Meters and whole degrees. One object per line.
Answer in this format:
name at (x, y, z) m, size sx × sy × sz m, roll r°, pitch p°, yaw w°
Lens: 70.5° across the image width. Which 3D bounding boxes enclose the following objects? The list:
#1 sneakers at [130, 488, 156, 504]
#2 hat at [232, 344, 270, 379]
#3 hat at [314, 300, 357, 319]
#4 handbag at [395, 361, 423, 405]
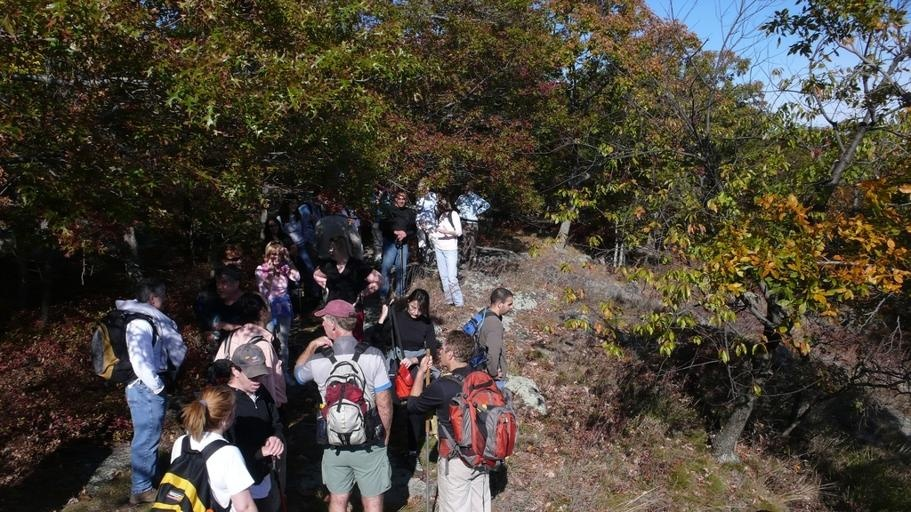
sneakers at (-5.227, 4.022, 10.818) m, size 0.428 × 0.182 × 0.202 m, roll 2°, pitch 3°, yaw -8°
hat at (-3.154, 1.549, 9.912) m, size 0.463 × 0.339 × 0.682 m, roll -11°, pitch 28°, yaw -41°
hat at (-1.879, 0.855, 10.282) m, size 0.462 × 0.183 × 0.326 m, roll 1°, pitch -5°, yaw 0°
handbag at (-0.906, 2.192, 10.930) m, size 0.245 × 0.586 × 0.582 m, roll -20°, pitch -14°, yaw 1°
